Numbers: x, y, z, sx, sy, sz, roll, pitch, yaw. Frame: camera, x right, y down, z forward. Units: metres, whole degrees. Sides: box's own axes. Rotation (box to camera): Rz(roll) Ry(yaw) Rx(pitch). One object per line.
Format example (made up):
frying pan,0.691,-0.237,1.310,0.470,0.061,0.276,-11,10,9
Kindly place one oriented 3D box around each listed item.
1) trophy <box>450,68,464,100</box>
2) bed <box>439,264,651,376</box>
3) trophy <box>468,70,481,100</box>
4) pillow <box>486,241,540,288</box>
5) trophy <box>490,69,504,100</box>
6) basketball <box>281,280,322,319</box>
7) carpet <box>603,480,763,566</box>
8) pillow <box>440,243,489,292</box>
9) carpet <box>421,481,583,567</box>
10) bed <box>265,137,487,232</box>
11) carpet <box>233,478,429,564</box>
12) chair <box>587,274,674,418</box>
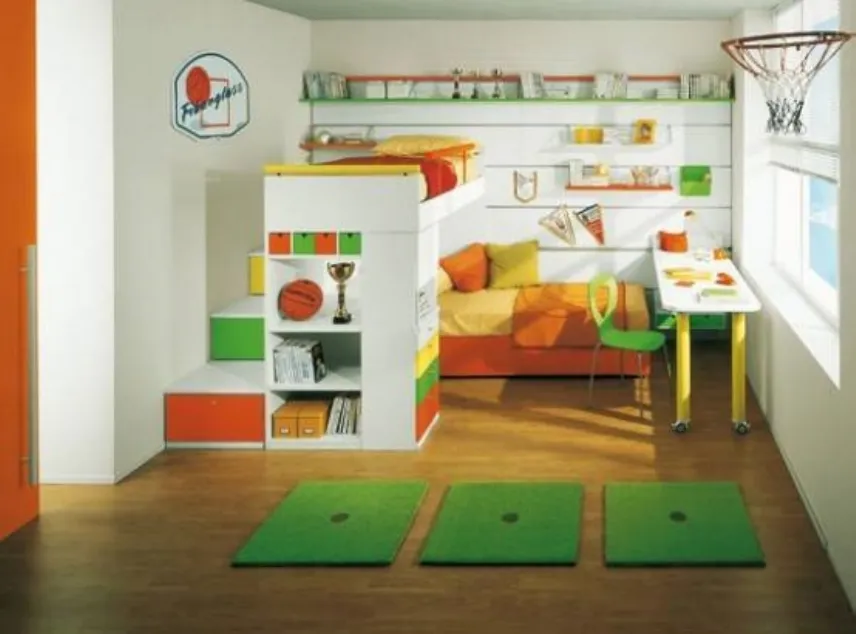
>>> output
trophy,0.323,-2.519,7.805,0.111,0.340,0.174,-1,11,3
bed,1.067,0.031,6.807,1.676,0.825,0.953,-1,8,2
trophy,0.518,-2.502,7.796,0.104,0.312,0.173,-1,11,3
pillow,0.907,-0.540,7.668,0.503,0.447,0.169,1,-23,-5
trophy,0.764,-2.509,7.789,0.127,0.312,0.161,0,11,6
basketball,-0.930,-0.126,5.226,0.244,0.176,0.301,1,10,-7
carpet,1.436,1.137,4.062,0.733,0.037,1.037,-5,9,19
pillow,0.348,-0.455,7.703,0.520,0.469,0.151,-23,-10,-37
carpet,0.449,1.150,4.030,0.807,0.022,0.956,1,12,12
bed,-0.427,-1.062,5.645,1.041,0.462,1.875,2,12,10
carpet,-0.504,1.154,4.116,0.844,0.022,1.085,1,12,11
chair,1.669,0.192,5.909,0.599,0.940,0.577,10,20,39
